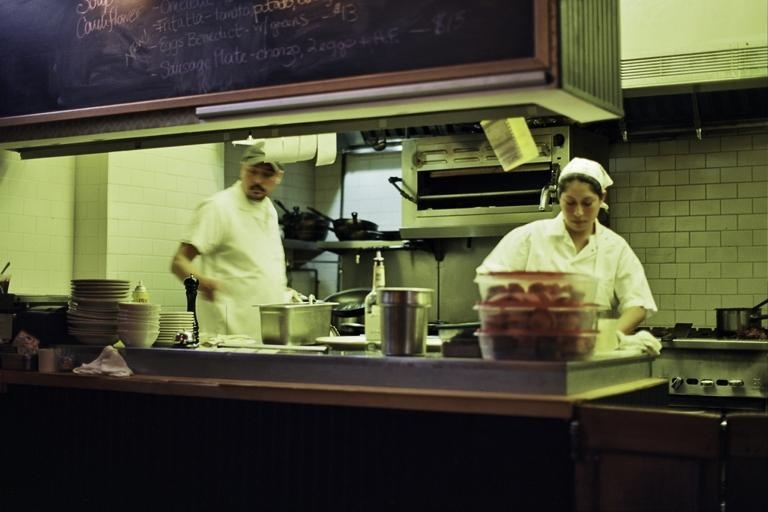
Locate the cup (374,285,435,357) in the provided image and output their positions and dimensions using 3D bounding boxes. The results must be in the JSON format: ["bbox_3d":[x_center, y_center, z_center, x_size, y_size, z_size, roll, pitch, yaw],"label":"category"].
[{"bbox_3d":[0.098,0.288,3.412,0.244,0.297,0.164,2,-4,-13],"label":"cup"}]

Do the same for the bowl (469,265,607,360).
[{"bbox_3d":[0.634,0.214,3.123,0.430,0.234,0.414,0,-4,0],"label":"bowl"}]

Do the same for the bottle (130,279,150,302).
[{"bbox_3d":[-1.323,0.188,4.163,0.075,0.109,0.197,3,-4,-20],"label":"bottle"}]

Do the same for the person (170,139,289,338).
[{"bbox_3d":[-0.929,-0.092,4.772,0.731,1.200,0.635,2,-4,-14],"label":"person"}]

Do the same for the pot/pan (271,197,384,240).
[{"bbox_3d":[-0.476,-0.281,6.777,0.655,0.209,0.493,0,-6,1],"label":"pot/pan"}]

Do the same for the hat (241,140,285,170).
[{"bbox_3d":[-0.747,-0.632,4.723,0.245,0.165,0.297,2,-4,-10],"label":"hat"}]

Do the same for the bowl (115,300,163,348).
[{"bbox_3d":[-1.221,0.338,3.830,0.209,0.217,0.228,1,-4,0],"label":"bowl"}]

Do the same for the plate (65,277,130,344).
[{"bbox_3d":[-1.470,0.278,4.013,0.356,0.310,0.348,2,-3,25],"label":"plate"}]

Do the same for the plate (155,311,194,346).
[{"bbox_3d":[-1.059,0.367,3.974,0.192,0.122,0.185,2,2,23],"label":"plate"}]
